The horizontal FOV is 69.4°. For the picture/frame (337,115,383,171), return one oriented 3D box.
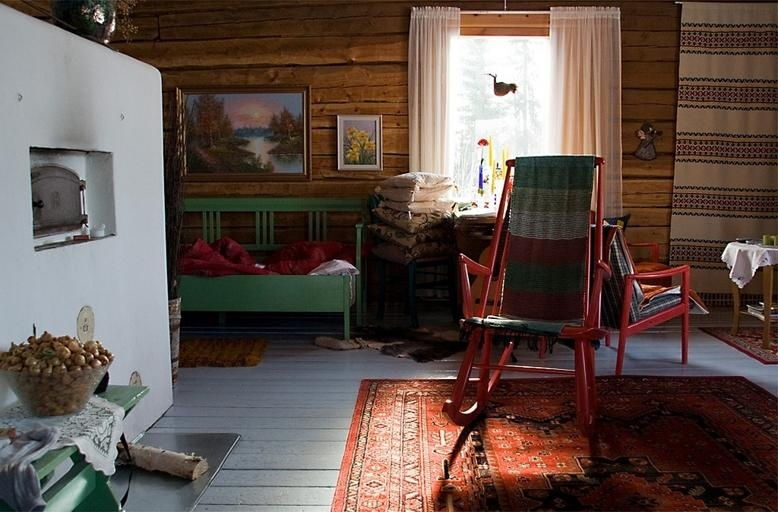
[{"bbox_3d":[-0.292,-1.162,5.557,0.706,0.641,0.054,0,1,1],"label":"picture/frame"}]

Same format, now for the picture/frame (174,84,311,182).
[{"bbox_3d":[-1.441,-1.231,5.610,1.693,0.946,0.074,7,13,27],"label":"picture/frame"}]

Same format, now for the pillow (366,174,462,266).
[{"bbox_3d":[-0.045,-0.390,5.221,1.050,0.794,0.830,-3,9,-18],"label":"pillow"}]
